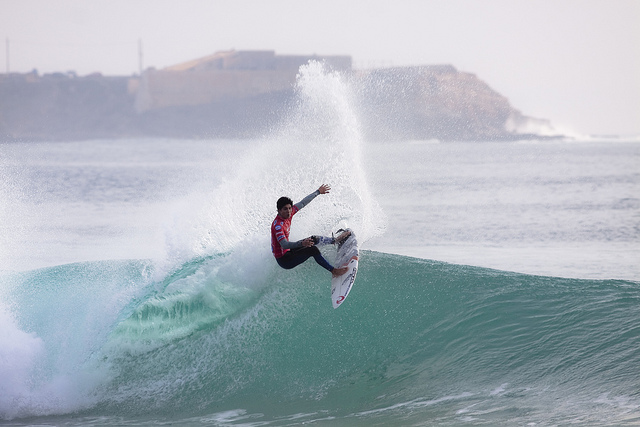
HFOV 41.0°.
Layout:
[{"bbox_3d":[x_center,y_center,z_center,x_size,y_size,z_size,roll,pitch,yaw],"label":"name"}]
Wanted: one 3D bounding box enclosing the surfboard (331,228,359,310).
[{"bbox_3d":[0.778,1.604,24.796,0.641,2.281,0.315,-34,-55,29],"label":"surfboard"}]
